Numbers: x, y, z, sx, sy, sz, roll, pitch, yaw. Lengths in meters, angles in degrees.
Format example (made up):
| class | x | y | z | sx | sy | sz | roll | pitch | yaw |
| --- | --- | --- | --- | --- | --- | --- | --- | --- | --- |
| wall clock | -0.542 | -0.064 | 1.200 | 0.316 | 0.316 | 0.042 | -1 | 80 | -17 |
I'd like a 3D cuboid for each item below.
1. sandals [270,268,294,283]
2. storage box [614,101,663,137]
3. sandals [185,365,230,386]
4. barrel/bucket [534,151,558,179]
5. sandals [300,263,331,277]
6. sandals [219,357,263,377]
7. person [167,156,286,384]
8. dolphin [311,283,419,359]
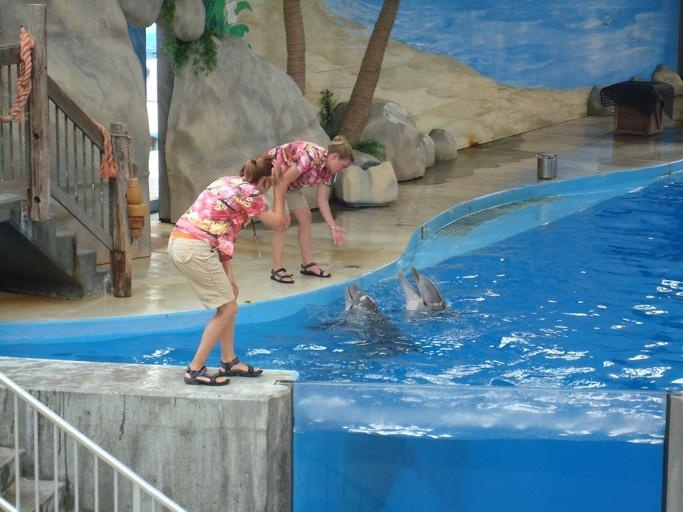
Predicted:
| class | x | y | z | sx | sy | sz | roll | pitch | yaw |
| --- | --- | --- | --- | --- | --- | --- | --- | --- | --- |
| sandals | -0.629 | 0.205 | 11.068 | 0.118 | 0.103 | 0.267 | -6 | 7 | -35 |
| storage box | 6.009 | -2.947 | 22.675 | 1.100 | 0.683 | 1.078 | 2 | -1 | 31 |
| sandals | -1.055 | 0.920 | 8.140 | 0.299 | 0.106 | 0.143 | 0 | 4 | 1 |
| barrel/bucket | 3.354 | -1.480 | 17.251 | 0.477 | 0.427 | 0.361 | 1 | 7 | 12 |
| sandals | -0.307 | 0.146 | 11.306 | 0.383 | 0.137 | 0.129 | 2 | 11 | 8 |
| sandals | -0.807 | 0.871 | 8.277 | 0.364 | 0.130 | 0.129 | 0 | 7 | -6 |
| person | -0.886 | 0.114 | 8.385 | 0.988 | 1.676 | 0.643 | 0 | 2 | 11 |
| dolphin | 0.350 | 0.577 | 10.439 | 0.912 | 0.271 | 0.710 | 29 | 31 | 26 |
